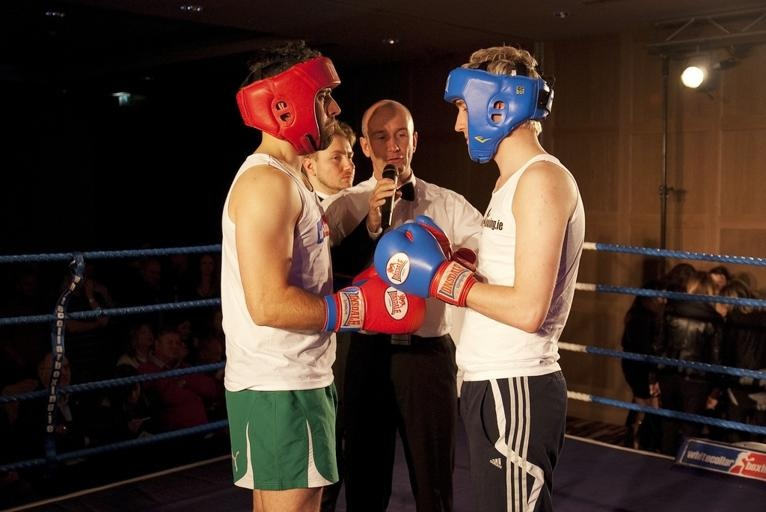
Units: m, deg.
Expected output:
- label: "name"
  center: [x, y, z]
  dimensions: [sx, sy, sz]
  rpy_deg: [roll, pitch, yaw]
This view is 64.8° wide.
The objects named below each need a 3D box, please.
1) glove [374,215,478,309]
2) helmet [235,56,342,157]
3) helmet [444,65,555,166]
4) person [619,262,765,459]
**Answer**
- label: "glove"
  center: [0.162, 0.066, 2.417]
  dimensions: [0.401, 0.289, 0.187]
  rpy_deg: [28, -25, 25]
- label: "helmet"
  center: [-0.354, -0.525, 2.457]
  dimensions: [0.410, 0.351, 0.358]
  rpy_deg: [-11, -7, -17]
- label: "helmet"
  center: [0.448, -0.563, 2.432]
  dimensions: [0.435, 0.326, 0.333]
  rpy_deg: [3, 12, 7]
- label: "person"
  center: [2.489, 0.903, 5.143]
  dimensions: [0.722, 1.539, 0.904]
  rpy_deg: [1, 8, -2]
